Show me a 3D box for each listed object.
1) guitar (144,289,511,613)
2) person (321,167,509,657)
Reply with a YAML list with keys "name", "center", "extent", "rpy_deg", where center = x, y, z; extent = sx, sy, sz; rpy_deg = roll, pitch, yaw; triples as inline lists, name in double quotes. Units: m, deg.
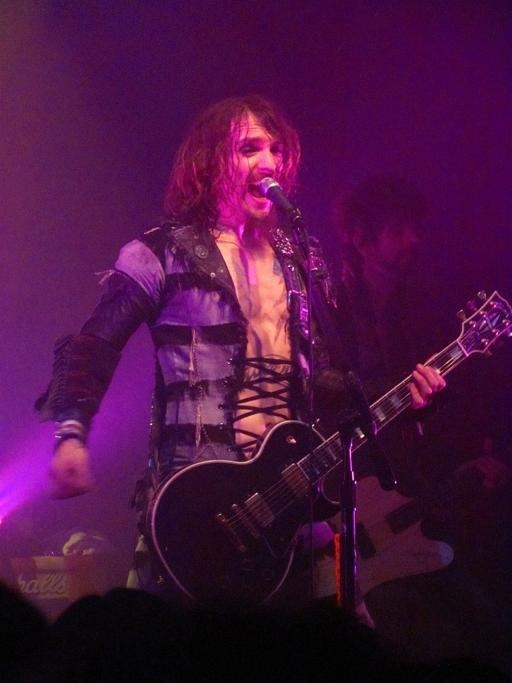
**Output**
- name: "guitar"
  center: [0.224, 0.389, 2.080]
  extent: [1.180, 0.785, 0.171]
  rpy_deg: [2, -16, -31]
- name: "person"
  center: [0.628, 0.284, 2.756]
  extent: [0.747, 1.831, 0.200]
  rpy_deg: [6, -15, -27]
